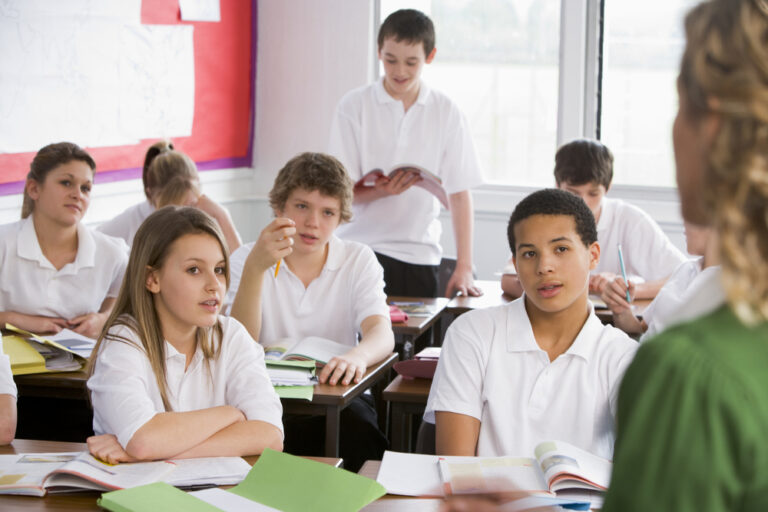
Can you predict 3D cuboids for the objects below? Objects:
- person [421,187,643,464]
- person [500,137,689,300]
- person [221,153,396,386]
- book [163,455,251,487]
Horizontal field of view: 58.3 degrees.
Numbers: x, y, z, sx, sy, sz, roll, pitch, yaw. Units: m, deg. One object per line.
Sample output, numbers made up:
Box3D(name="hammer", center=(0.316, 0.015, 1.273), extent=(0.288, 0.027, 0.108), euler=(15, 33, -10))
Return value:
Box3D(name="person", center=(0.451, 0.279, 1.777), extent=(0.630, 0.836, 0.500), euler=(1, -6, 24))
Box3D(name="person", center=(1.006, -0.122, 3.415), extent=(0.879, 0.792, 0.588), euler=(0, 3, 31))
Box3D(name="person", center=(-0.255, 0.004, 2.716), extent=(0.620, 0.879, 0.793), euler=(1, 1, -3))
Box3D(name="book", center=(-0.375, 0.463, 1.481), extent=(0.176, 0.017, 0.167), euler=(-1, 1, -8))
